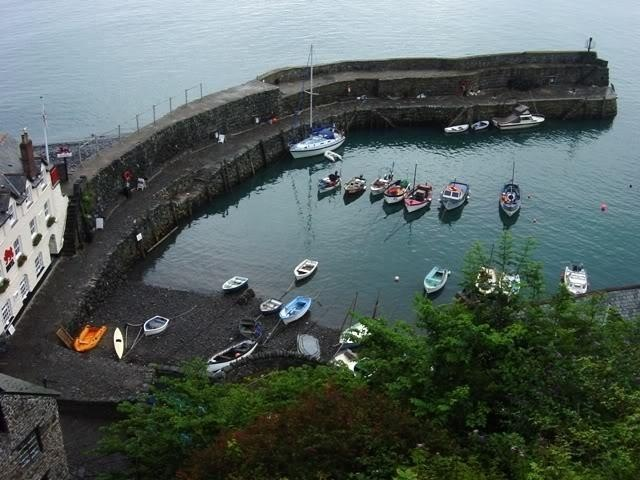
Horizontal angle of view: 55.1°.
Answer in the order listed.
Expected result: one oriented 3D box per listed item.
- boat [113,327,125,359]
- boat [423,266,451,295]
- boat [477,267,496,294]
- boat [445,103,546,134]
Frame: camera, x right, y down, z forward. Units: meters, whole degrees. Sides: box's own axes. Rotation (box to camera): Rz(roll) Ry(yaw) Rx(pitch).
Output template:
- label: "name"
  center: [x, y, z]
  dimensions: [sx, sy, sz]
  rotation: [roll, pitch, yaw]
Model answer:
- label: "boat"
  center: [-15.738, 8.089, 47.779]
  dimensions: [0.740, 0.303, 2.919]
  rotation: [-9, 46, -22]
- label: "boat"
  center: [10.704, 3.995, 57.513]
  dimensions: [1.743, 1.313, 3.036]
  rotation: [10, 30, 24]
- label: "boat"
  center: [9.999, 2.475, 37.272]
  dimensions: [1.195, 1.033, 1.557]
  rotation: [-7, 23, 17]
- label: "boat"
  center: [24.977, -17.225, 87.896]
  dimensions: [15.185, 2.872, 3.483]
  rotation: [-8, 28, -8]
